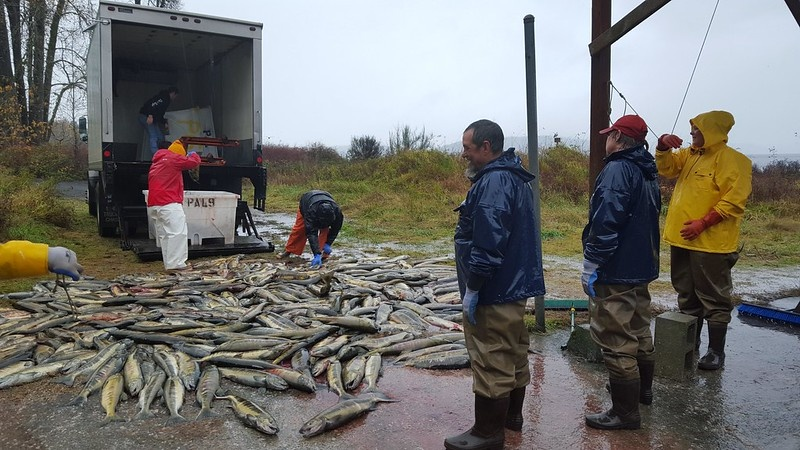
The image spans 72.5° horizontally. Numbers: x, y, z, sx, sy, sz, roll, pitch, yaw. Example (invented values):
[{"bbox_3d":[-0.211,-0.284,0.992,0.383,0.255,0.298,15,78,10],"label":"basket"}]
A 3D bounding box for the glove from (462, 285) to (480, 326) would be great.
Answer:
[{"bbox_3d":[0.956,1.125,7.549,0.160,0.442,0.331,11,4,-1],"label":"glove"}]

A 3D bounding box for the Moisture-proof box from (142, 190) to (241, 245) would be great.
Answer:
[{"bbox_3d":[-5.076,-0.171,14.254,1.487,1.243,2.051,-2,6,-28],"label":"Moisture-proof box"}]

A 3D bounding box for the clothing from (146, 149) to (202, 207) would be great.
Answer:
[{"bbox_3d":[-5.606,-1.133,13.217,1.166,1.356,0.435,-2,7,-15],"label":"clothing"}]

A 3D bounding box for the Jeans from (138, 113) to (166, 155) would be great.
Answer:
[{"bbox_3d":[-7.763,-2.830,16.962,0.581,0.514,1.893,-24,12,-26],"label":"Jeans"}]

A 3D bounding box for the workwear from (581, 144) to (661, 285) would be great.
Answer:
[{"bbox_3d":[3.326,-0.133,8.060,1.186,2.001,0.391,-2,7,-10],"label":"workwear"}]

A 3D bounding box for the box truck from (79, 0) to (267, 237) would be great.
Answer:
[{"bbox_3d":[-7.375,-3.664,18.715,6.262,6.045,9.807,-3,11,-25],"label":"box truck"}]

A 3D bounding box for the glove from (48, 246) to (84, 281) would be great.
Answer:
[{"bbox_3d":[-4.877,0.563,7.917,0.167,0.402,0.559,-28,-40,22],"label":"glove"}]
